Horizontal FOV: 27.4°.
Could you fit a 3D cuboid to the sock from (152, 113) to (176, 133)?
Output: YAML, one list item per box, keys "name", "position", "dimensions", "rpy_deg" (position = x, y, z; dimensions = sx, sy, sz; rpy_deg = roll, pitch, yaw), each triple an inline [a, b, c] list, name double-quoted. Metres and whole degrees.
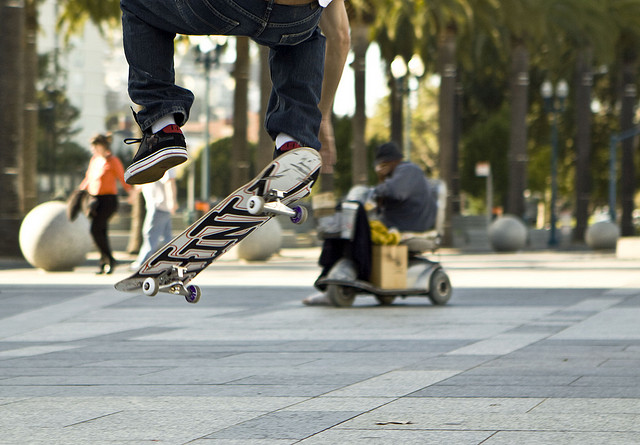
- name: "sock"
  position: [-1.468, -0.899, 12.075]
  dimensions: [0.302, 0.083, 0.124]
  rpy_deg: [-30, -7, 15]

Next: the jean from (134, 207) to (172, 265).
- name: "jean"
  position: [-2.408, 0.191, 19.490]
  dimensions: [0.497, 0.725, 0.827]
  rpy_deg: [3, -1, -7]

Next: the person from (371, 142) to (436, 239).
- name: "person"
  position: [1.056, -0.395, 16.093]
  dimensions: [0.800, 0.922, 0.487]
  rpy_deg: [3, -1, 4]

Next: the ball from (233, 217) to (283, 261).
- name: "ball"
  position: [-1.065, 0.274, 23.073]
  dimensions: [0.935, 0.815, 0.629]
  rpy_deg: [-6, 15, -22]
